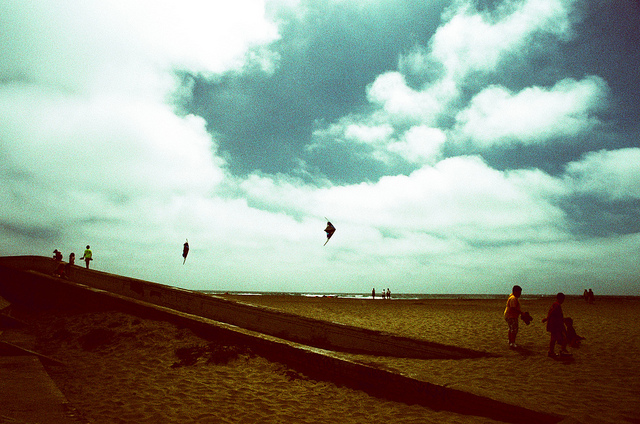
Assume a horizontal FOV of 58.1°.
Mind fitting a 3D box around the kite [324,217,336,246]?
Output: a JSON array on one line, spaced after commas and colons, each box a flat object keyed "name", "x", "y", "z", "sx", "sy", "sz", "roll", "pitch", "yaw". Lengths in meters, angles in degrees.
[{"name": "kite", "x": 0.270, "y": 0.512, "z": 14.905, "sx": 0.356, "sy": 0.862, "sz": 0.085, "roll": 10, "pitch": -55, "yaw": -11}]
